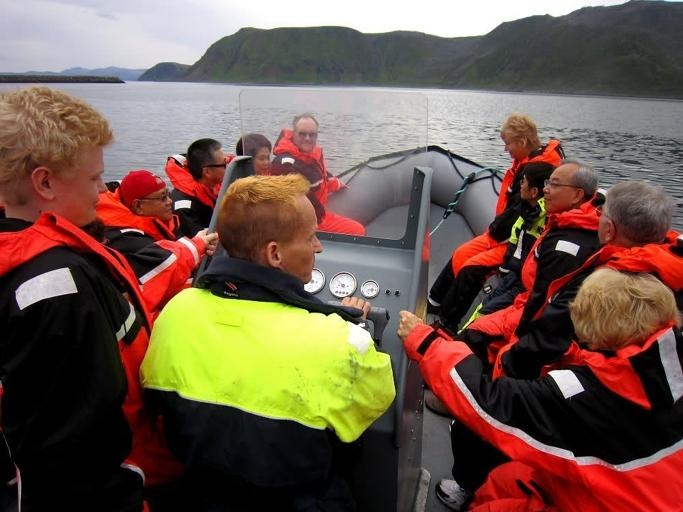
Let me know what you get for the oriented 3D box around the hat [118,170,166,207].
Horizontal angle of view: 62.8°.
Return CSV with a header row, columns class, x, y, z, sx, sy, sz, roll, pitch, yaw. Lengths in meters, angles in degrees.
class,x,y,z,sx,sy,sz,roll,pitch,yaw
hat,-1.116,-0.384,3.166,0.255,0.152,0.175,-31,28,-4
